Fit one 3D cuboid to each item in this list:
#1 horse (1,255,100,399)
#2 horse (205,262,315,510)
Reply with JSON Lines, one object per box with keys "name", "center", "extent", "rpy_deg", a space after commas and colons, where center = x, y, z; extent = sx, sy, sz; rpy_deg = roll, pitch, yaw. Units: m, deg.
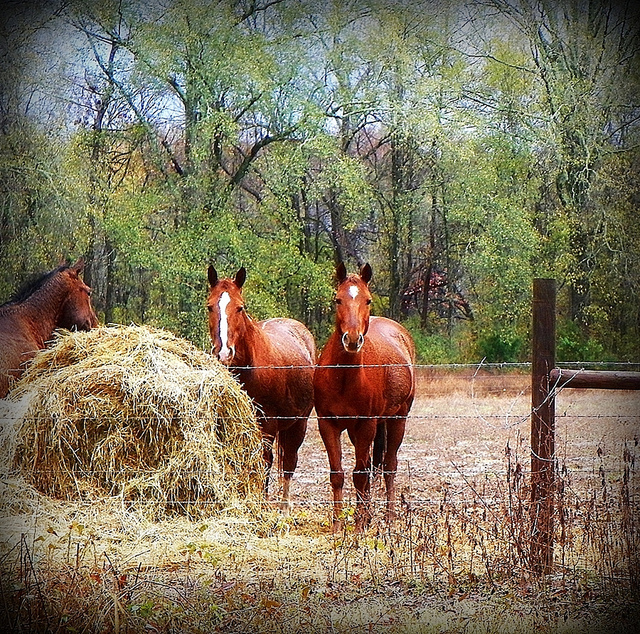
{"name": "horse", "center": [-2.871, -0.065, 9.326], "extent": [0.648, 1.006, 1.595], "rpy_deg": [5, 10, 13]}
{"name": "horse", "center": [-0.619, 0.869, 9.740], "extent": [0.741, 2.557, 3.019], "rpy_deg": [2, -4, 13]}
